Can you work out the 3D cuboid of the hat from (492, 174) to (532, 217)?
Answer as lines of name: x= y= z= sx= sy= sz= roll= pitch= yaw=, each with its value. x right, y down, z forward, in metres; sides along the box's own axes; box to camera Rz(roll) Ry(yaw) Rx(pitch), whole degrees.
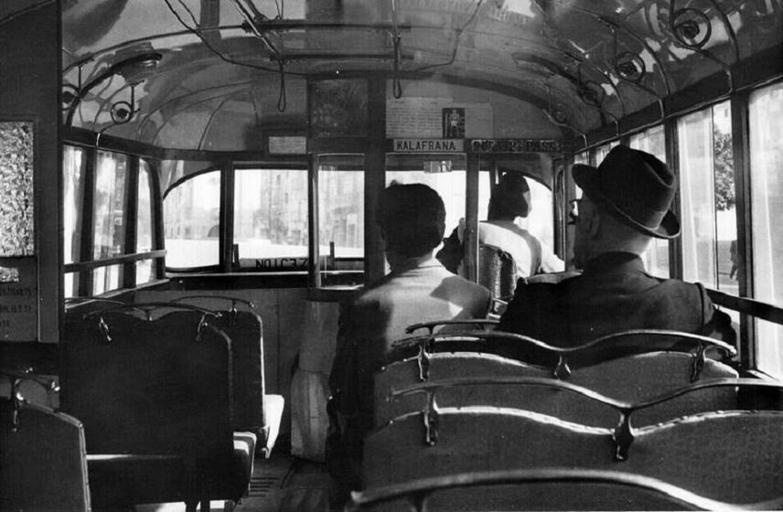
hat: x=0.353 y=-0.167 z=3.448 sx=0.143 sy=0.134 sz=0.097 roll=-9 pitch=7 yaw=-22

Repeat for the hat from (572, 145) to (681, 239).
hat: x=0.708 y=-0.190 z=3.584 sx=0.315 sy=0.257 sz=0.096 roll=1 pitch=0 yaw=8

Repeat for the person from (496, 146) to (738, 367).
person: x=0.698 y=0.030 z=3.745 sx=0.816 sy=0.691 sz=0.404 roll=3 pitch=3 yaw=-18
